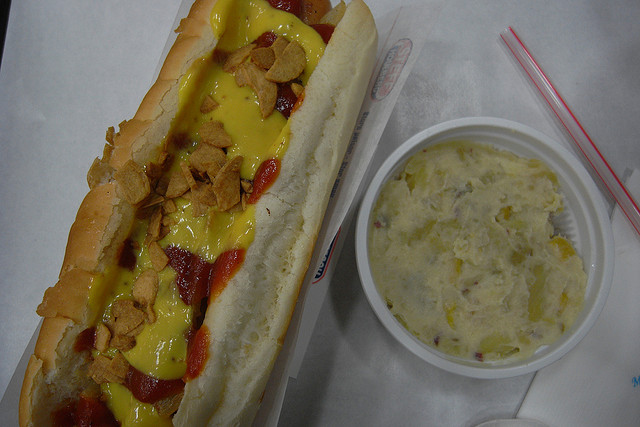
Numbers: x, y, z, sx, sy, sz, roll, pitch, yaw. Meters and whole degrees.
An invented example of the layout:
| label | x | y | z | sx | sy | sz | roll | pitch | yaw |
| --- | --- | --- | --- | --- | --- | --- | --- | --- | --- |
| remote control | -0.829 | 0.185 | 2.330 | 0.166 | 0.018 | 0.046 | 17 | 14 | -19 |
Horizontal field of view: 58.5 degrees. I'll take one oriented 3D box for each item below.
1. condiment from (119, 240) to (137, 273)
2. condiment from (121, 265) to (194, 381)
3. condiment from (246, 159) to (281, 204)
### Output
| label | x | y | z | sx | sy | sz | roll | pitch | yaw |
| --- | --- | --- | --- | --- | --- | --- | --- | --- | --- |
| condiment | -0.645 | 0.145 | 1.896 | 0.048 | 0.023 | 0.100 | 4 | 41 | -6 |
| condiment | -0.504 | 0.332 | 1.816 | 0.175 | 0.349 | 0.077 | 1 | -5 | 1 |
| condiment | -0.180 | -0.115 | 1.851 | 0.079 | 0.163 | 0.035 | 22 | 3 | 25 |
